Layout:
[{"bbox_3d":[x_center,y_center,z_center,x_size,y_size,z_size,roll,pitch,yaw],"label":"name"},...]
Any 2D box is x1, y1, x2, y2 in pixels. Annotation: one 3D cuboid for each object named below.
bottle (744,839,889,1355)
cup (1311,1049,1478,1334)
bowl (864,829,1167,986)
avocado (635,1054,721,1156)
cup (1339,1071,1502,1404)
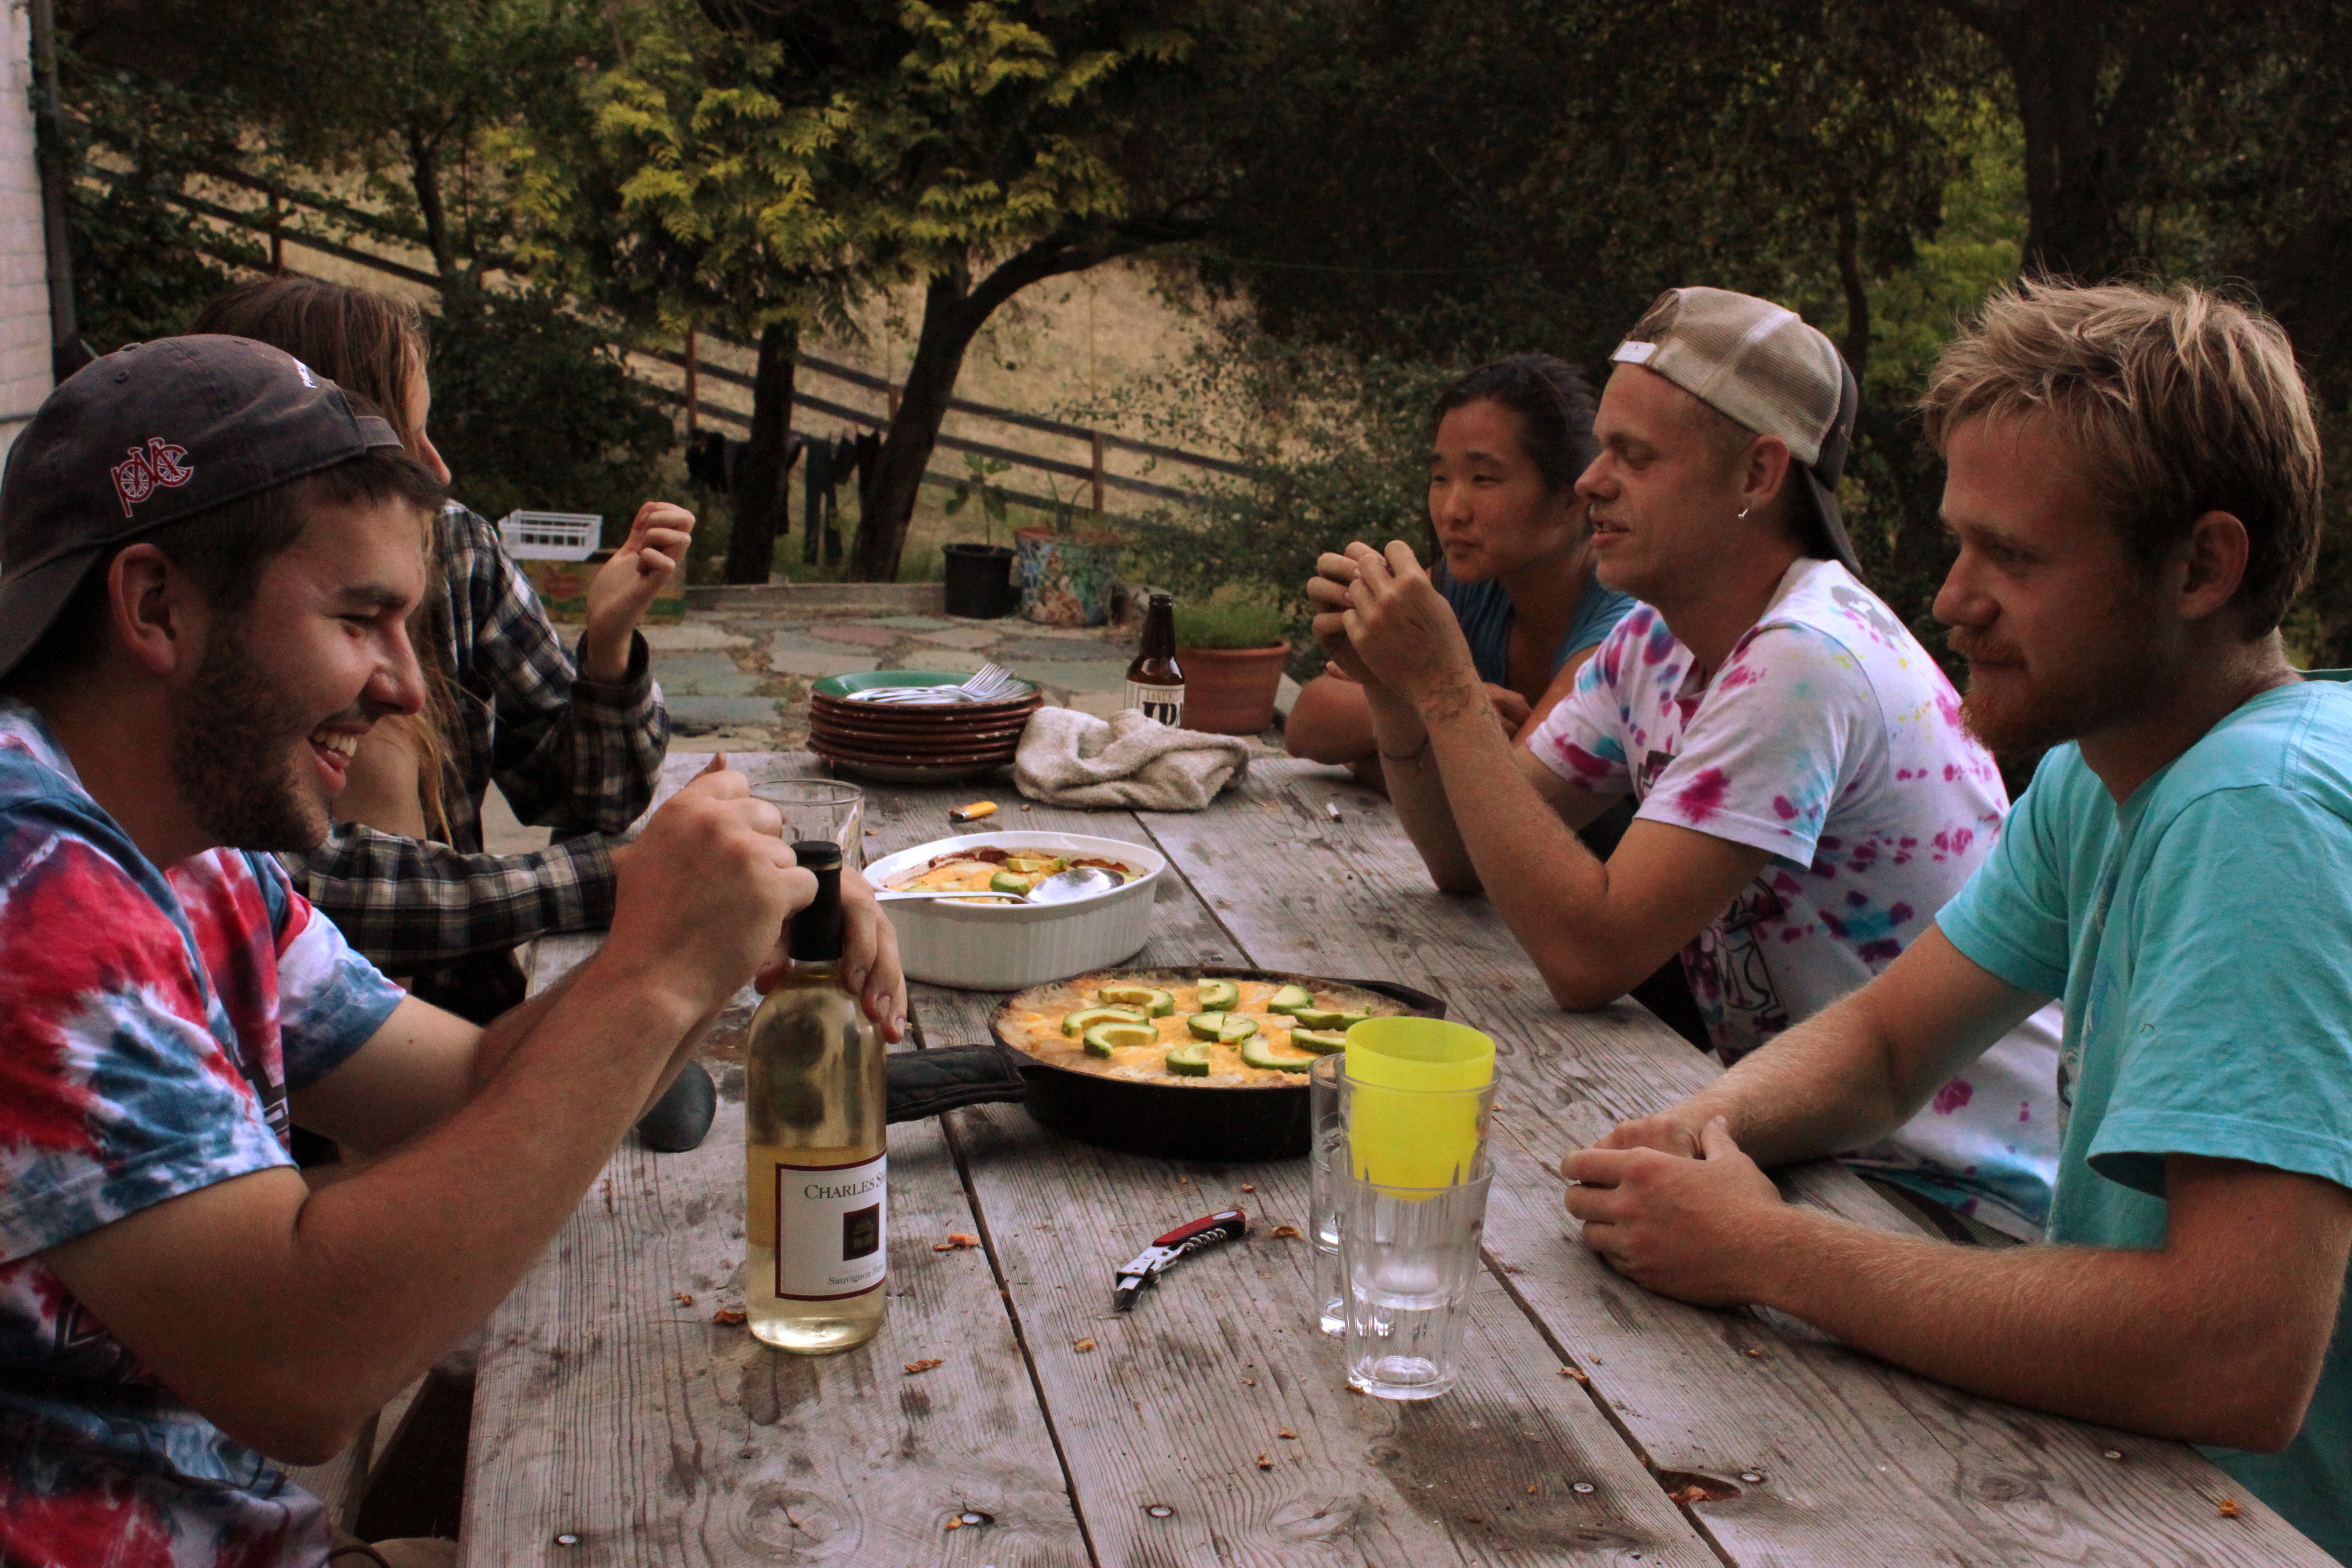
[{"bbox_3d":[-0.326,0.293,1.472,0.122,0.516,0.132,0,-2,0],"label":"bottle"},{"bbox_3d":[0.226,0.381,1.506,0.152,0.285,0.161,2,12,0],"label":"cup"},{"bbox_3d":[-0.244,0.183,2.332,0.518,0.208,0.226,0,-6,2],"label":"bowl"},{"bbox_3d":[-0.542,0.363,1.768,0.083,0.119,0.121,2,10,-6],"label":"avocado"},{"bbox_3d":[0.220,0.426,1.511,0.169,0.287,0.175,2,12,0],"label":"cup"}]
